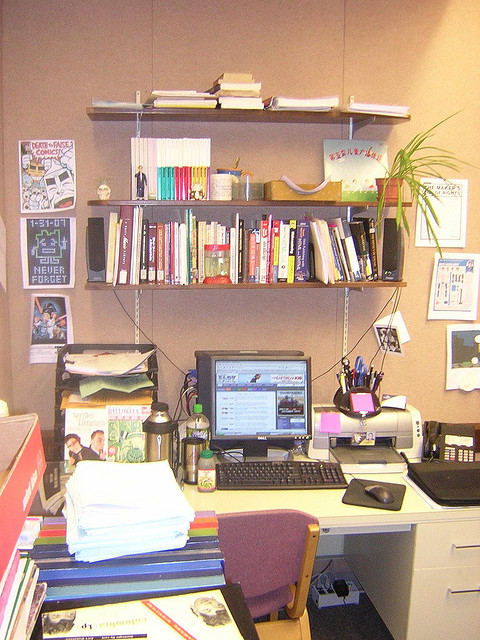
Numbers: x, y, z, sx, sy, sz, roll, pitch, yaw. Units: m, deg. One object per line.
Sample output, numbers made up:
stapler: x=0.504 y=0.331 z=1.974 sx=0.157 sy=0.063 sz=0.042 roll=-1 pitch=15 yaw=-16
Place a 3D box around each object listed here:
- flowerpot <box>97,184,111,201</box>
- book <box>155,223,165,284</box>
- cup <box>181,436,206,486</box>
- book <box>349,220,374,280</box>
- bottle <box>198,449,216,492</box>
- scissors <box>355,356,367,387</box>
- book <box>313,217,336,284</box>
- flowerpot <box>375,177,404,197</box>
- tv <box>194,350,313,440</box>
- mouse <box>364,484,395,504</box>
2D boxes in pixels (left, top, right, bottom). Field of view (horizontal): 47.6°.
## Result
flowerpot: x=-0.531 y=-0.496 z=2.176 sx=0.064 sy=0.089 sz=0.089 roll=-3 pitch=19 yaw=-13
book: x=-0.309 y=-0.252 z=2.102 sx=0.034 sy=0.226 sz=0.017 roll=1 pitch=10 yaw=-11
cup: x=-0.164 y=0.486 z=1.918 sx=0.088 sy=0.178 sz=0.095 roll=5 pitch=18 yaw=-2
book: x=0.497 y=-0.286 z=2.228 sx=0.034 sy=0.176 sz=0.161 roll=-10 pitch=18 yaw=4
bottle: x=-0.111 y=0.500 z=1.814 sx=0.064 sy=0.136 sz=0.065 roll=0 pitch=4 yaw=0
scissors: x=0.490 y=0.201 z=2.232 sx=0.039 sy=0.109 sz=0.166 roll=5 pitch=11 yaw=12
book: x=0.328 y=-0.274 z=2.173 sx=0.119 sy=0.247 sz=0.087 roll=8 pitch=11 yaw=23
flowerpot: x=0.614 y=-0.544 z=2.238 sx=0.087 sy=0.076 sz=0.095 roll=0 pitch=5 yaw=0
tv: x=0.051 y=0.244 z=2.193 sx=0.464 sy=0.464 sz=0.286 roll=1 pitch=26 yaw=2
mouse: x=0.450 y=0.562 z=1.754 sx=0.094 sy=0.033 sz=0.076 roll=7 pitch=12 yaw=15
